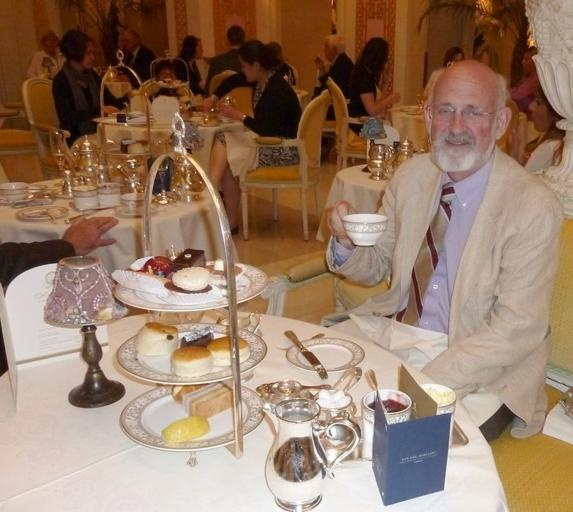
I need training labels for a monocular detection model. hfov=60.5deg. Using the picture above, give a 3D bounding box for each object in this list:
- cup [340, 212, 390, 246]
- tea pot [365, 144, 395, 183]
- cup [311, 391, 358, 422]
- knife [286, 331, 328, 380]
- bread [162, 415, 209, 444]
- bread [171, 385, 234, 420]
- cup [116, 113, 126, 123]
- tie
[{"bbox_3d":[0.223,-0.093,1.441,0.099,0.065,0.099,0,11,0],"label":"cup"},{"bbox_3d":[0.623,-0.673,3.438,0.226,0.302,0.248,0,24,0],"label":"tea pot"},{"bbox_3d":[0.097,0.279,0.959,0.069,0.050,0.055,-3,9,-24],"label":"cup"},{"bbox_3d":[0.058,0.254,1.326,0.038,0.027,0.259,-14,21,-10],"label":"knife"},{"bbox_3d":[-0.186,0.318,0.905,0.063,0.038,0.023,-10,-16,-27],"label":"bread"},{"bbox_3d":[-0.166,0.282,1.012,0.079,0.028,0.075,-9,19,-44],"label":"bread"},{"bbox_3d":[-1.284,-1.090,3.868,0.084,0.082,0.085,2,14,-1],"label":"cup"},{"bbox_3d":[0.515,-0.004,1.837,0.107,0.659,0.072,18,3,18],"label":"tie"}]
